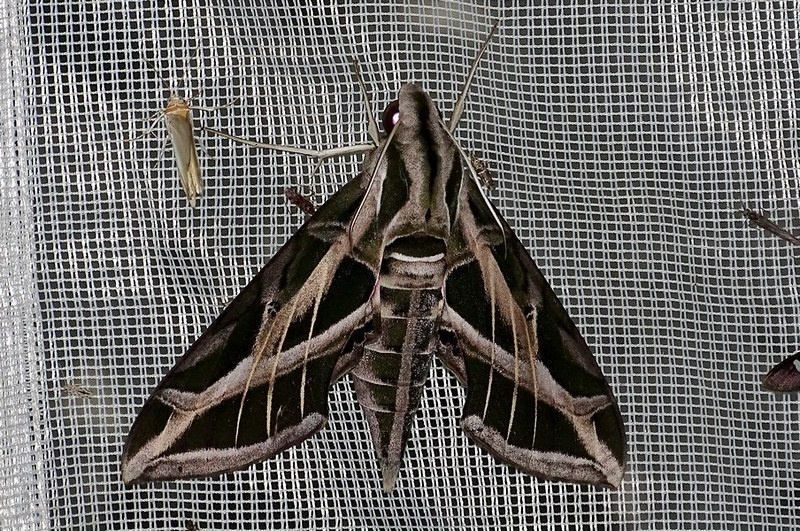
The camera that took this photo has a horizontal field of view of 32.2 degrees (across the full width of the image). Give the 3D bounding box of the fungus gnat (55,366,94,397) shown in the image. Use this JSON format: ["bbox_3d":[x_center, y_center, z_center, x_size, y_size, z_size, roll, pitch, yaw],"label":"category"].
[{"bbox_3d":[-0.877,0.331,3.749,0.070,0.021,0.086,1,95,2],"label":"fungus gnat"}]

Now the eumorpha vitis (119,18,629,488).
[{"bbox_3d":[-0.037,0.102,3.460,1.181,0.243,0.922,-1,83,1],"label":"eumorpha vitis"}]

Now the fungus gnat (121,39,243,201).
[{"bbox_3d":[-0.610,-0.394,3.771,0.276,0.127,0.388,-8,84,-10],"label":"fungus gnat"}]
